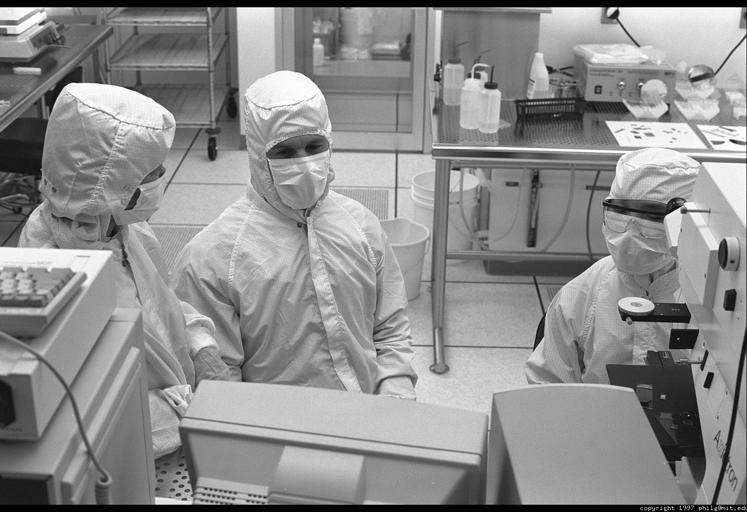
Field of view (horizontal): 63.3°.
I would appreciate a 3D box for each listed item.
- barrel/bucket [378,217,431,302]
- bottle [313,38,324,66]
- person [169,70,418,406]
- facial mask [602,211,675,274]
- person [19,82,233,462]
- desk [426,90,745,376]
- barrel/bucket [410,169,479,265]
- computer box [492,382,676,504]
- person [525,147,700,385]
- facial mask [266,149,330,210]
[{"bbox_3d":[0.183,0.063,3.264,0.397,0.440,0.387,1,31,-1],"label":"barrel/bucket"},{"bbox_3d":[-0.426,-1.595,4.763,0.086,0.206,0.038,-3,18,-11],"label":"bottle"},{"bbox_3d":[-0.239,0.001,1.948,0.770,1.101,0.560,-9,17,-24],"label":"person"},{"bbox_3d":[0.909,-0.056,2.084,0.247,0.200,0.236,12,21,37],"label":"facial mask"},{"bbox_3d":[-0.606,0.107,1.562,0.556,0.975,0.611,-1,5,-17],"label":"person"},{"bbox_3d":[0.750,-0.056,2.986,1.344,0.867,1.384,0,31,2],"label":"desk"},{"bbox_3d":[0.416,-0.262,3.635,0.431,0.477,0.461,-1,37,1],"label":"barrel/bucket"},{"bbox_3d":[0.298,0.254,0.852,0.201,0.136,0.216,0,22,4],"label":"computer box"},{"bbox_3d":[0.810,0.048,2.087,0.439,0.807,0.413,10,20,27],"label":"person"},{"bbox_3d":[-0.243,-0.247,1.940,0.215,0.150,0.260,-15,25,-26],"label":"facial mask"}]
